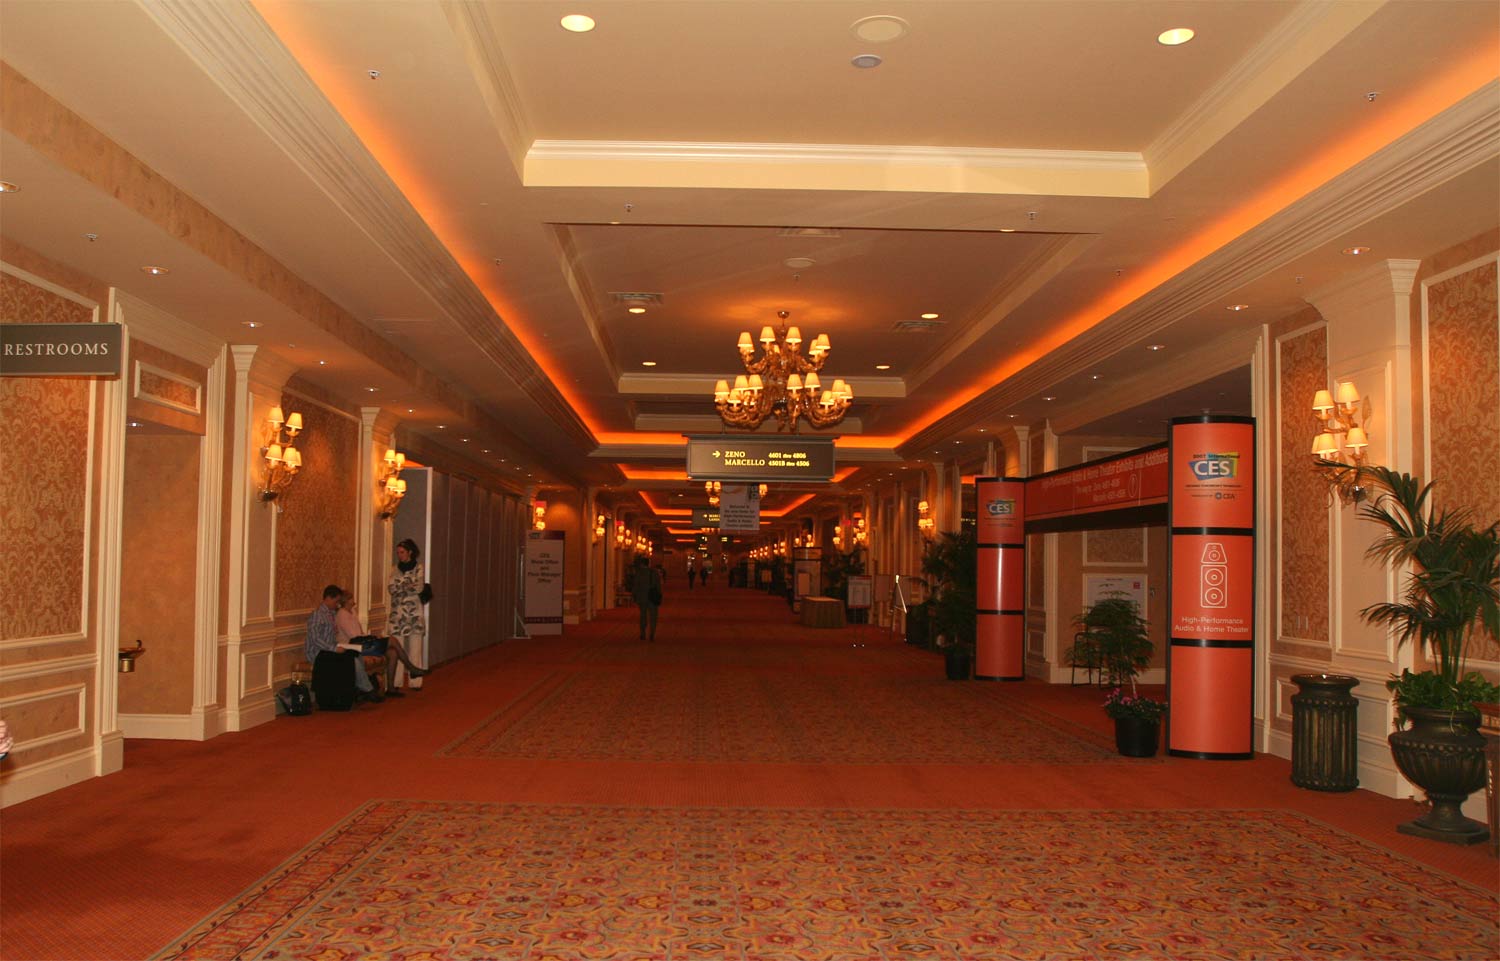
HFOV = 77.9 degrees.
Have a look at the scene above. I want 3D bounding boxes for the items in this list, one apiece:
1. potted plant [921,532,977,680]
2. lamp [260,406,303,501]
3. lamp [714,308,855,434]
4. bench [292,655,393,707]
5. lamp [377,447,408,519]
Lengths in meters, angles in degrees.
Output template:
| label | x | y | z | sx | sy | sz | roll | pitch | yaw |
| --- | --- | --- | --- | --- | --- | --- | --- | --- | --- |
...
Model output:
| label | x | y | z | sx | sy | sz | roll | pitch | yaw |
| --- | --- | --- | --- | --- | --- | --- | --- | --- | --- |
| potted plant | 3.442 | 2.049 | 15.812 | 0.837 | 2.521 | 1.557 | -1 | -9 | 10 |
| lamp | -5.383 | -0.325 | 10.623 | 0.388 | 1.133 | 1.005 | 5 | -11 | -28 |
| lamp | 0.516 | -1.394 | 12.045 | 1.815 | 1.404 | 1.694 | -1 | 10 | -11 |
| bench | -4.962 | 2.409 | 11.350 | 0.664 | 0.390 | 0.934 | 2 | -3 | -7 |
| lamp | -5.260 | 0.008 | 13.591 | 0.295 | 1.001 | 0.537 | 3 | -10 | -15 |
